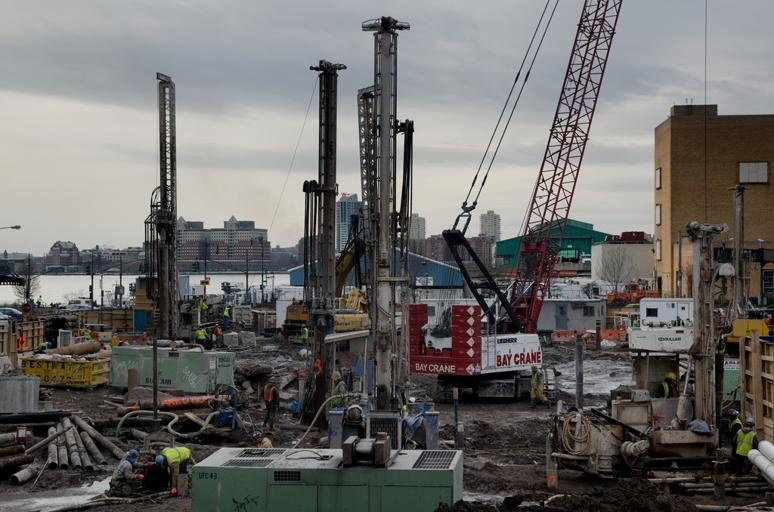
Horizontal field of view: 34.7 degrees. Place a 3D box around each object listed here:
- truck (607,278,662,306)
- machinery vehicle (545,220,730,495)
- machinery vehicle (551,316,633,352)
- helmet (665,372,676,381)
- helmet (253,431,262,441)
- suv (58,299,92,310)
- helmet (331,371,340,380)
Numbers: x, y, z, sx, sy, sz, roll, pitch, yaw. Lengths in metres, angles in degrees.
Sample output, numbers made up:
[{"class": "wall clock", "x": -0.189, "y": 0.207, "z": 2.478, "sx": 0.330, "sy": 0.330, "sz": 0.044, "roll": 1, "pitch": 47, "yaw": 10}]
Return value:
[{"class": "truck", "x": 19.466, "y": 2.825, "z": 98.293, "sx": 5.289, "sy": 2.195, "sz": 1.824, "roll": -1, "pitch": -1, "yaw": -18}, {"class": "machinery vehicle", "x": 9.330, "y": 3.414, "z": 45.574, "sx": 7.535, "sy": 9.408, "sz": 4.244, "roll": 1, "pitch": 8, "yaw": -3}, {"class": "machinery vehicle", "x": 13.062, "y": 4.699, "z": 81.238, "sx": 5.130, "sy": 1.790, "sz": 3.697, "roll": 0, "pitch": -5, "yaw": 16}, {"class": "helmet", "x": 11.176, "y": 4.760, "z": 49.168, "sx": 0.365, "sy": 0.180, "sz": 0.260, "roll": 11, "pitch": 5, "yaw": 26}, {"class": "helmet", "x": -4.806, "y": 6.659, "z": 45.871, "sx": 0.277, "sy": 0.319, "sz": 0.358, "roll": -1, "pitch": 7, "yaw": -20}, {"class": "suv", "x": -26.361, "y": 4.072, "z": 104.652, "sx": 2.846, "sy": 1.357, "sz": 1.651, "roll": 5, "pitch": -5, "yaw": -34}, {"class": "helmet", "x": -2.010, "y": 4.665, "z": 48.297, "sx": 0.360, "sy": 0.325, "sz": 0.280, "roll": -3, "pitch": 3, "yaw": 38}]
